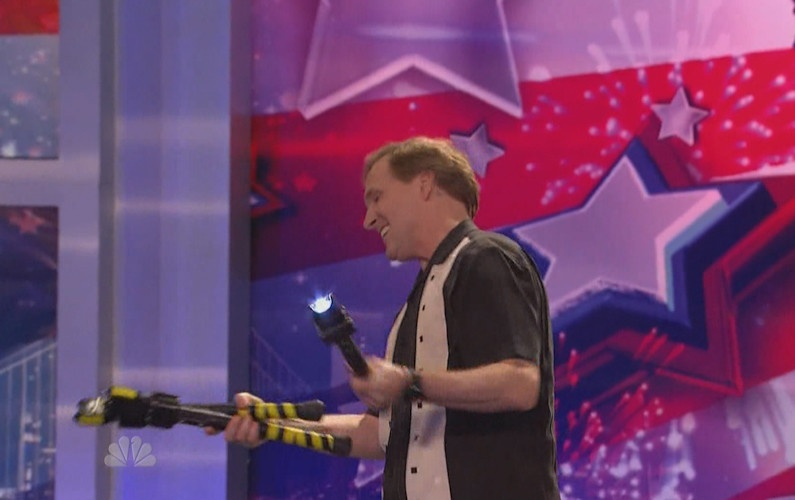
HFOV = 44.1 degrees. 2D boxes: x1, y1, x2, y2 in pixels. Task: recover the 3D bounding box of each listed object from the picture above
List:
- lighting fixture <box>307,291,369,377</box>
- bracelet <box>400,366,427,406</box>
[{"bbox_3d":[-0.237,0.350,3.945,0.136,0.457,0.145,-25,-27,-19],"label":"lighting fixture"},{"bbox_3d":[0.065,0.535,3.900,0.076,0.119,0.096,-4,-23,8],"label":"bracelet"}]
